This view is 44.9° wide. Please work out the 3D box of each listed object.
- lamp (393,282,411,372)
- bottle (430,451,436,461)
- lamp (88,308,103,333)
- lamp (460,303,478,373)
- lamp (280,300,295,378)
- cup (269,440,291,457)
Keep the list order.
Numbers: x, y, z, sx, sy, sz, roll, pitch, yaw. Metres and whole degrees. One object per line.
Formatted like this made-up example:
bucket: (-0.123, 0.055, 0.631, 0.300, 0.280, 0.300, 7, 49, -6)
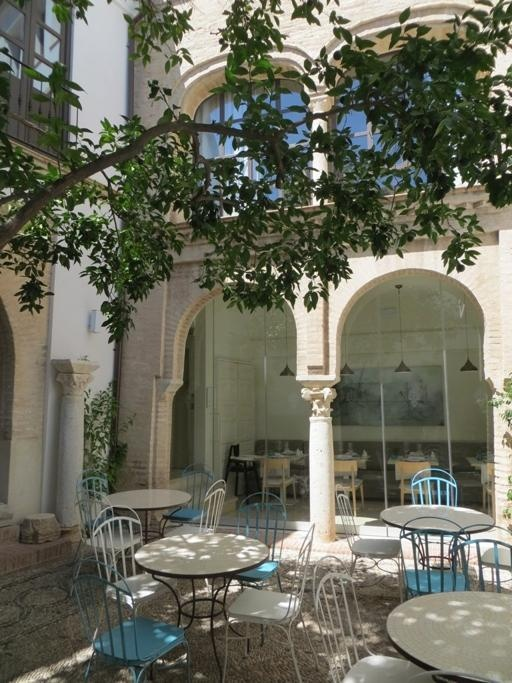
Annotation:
lamp: (1.884, -0.177, 8.046, 0.194, 1.183, 0.069, -5, -10, 27)
bottle: (2.176, 1.409, 7.606, 0.092, 0.111, 0.093, 0, -5, -9)
lamp: (-2.078, -0.262, 8.073, 0.158, 0.303, 0.232, -3, -9, 16)
lamp: (2.580, -0.033, 7.581, 0.200, 0.837, 0.077, -3, -9, 17)
lamp: (0.419, 0.037, 8.561, 0.207, 0.928, 0.094, -2, -9, 7)
cup: (0.340, 1.450, 8.418, 0.262, 0.234, 0.133, 0, -2, 24)
